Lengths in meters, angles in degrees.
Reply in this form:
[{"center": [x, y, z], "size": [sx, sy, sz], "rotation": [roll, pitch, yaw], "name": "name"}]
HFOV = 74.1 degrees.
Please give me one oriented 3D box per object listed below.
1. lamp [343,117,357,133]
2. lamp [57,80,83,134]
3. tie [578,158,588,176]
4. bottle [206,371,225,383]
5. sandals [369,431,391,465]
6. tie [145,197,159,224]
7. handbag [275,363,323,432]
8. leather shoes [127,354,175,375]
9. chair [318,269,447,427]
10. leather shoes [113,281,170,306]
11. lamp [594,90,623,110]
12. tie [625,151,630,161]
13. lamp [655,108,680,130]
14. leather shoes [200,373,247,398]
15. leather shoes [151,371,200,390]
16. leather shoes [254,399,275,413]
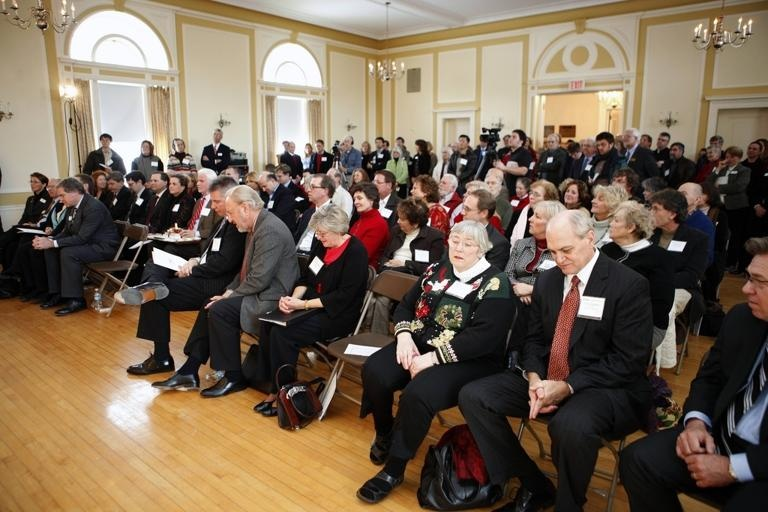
[{"center": [-0.926, -3.713, 14.287], "size": [0.306, 0.348, 0.335], "rotation": [3, -1, -28], "name": "lamp"}, {"center": [-6.024, -2.949, 9.883], "size": [0.327, 0.933, 0.105], "rotation": [-9, 16, -29], "name": "lamp"}, {"center": [3.225, -1.478, 8.389], "size": [0.058, 0.280, 0.168], "rotation": [12, -11, -5], "name": "tie"}, {"center": [-1.609, 1.141, 4.842], "size": [0.135, 0.057, 0.183], "rotation": [5, 8, 11], "name": "bottle"}, {"center": [-0.031, 1.431, 3.771], "size": [0.099, 0.105, 0.284], "rotation": [4, 26, 9], "name": "sandals"}, {"center": [-3.319, -0.672, 7.486], "size": [0.290, 0.402, 0.141], "rotation": [0, -8, 18], "name": "tie"}, {"center": [-0.714, 1.191, 4.218], "size": [0.429, 0.447, 0.260], "rotation": [-14, 4, -42], "name": "handbag"}, {"center": [-2.198, 1.038, 4.882], "size": [0.406, 0.179, 0.185], "rotation": [0, -1, -12], "name": "leather shoes"}, {"center": [-0.121, 0.668, 4.580], "size": [0.860, 1.657, 1.201], "rotation": [8, 8, 39], "name": "chair"}, {"center": [-2.192, 0.328, 4.619], "size": [0.243, 0.209, 0.550], "rotation": [5, 2, 39], "name": "leather shoes"}, {"center": [5.827, -4.105, 13.337], "size": [0.240, 0.423, 0.862], "rotation": [-5, 15, -17], "name": "lamp"}, {"center": [3.997, -1.683, 8.460], "size": [0.095, 0.036, 0.359], "rotation": [-39, 13, 42], "name": "tie"}, {"center": [5.829, -2.835, 10.541], "size": [0.359, 0.363, 0.094], "rotation": [7, 16, 27], "name": "lamp"}, {"center": [-1.422, 1.149, 4.578], "size": [0.330, 0.136, 0.171], "rotation": [1, -2, -37], "name": "leather shoes"}, {"center": [-1.851, 1.106, 4.578], "size": [0.391, 0.160, 0.163], "rotation": [3, -6, -14], "name": "leather shoes"}, {"center": [-1.010, 1.275, 4.313], "size": [0.112, 0.039, 0.158], "rotation": [-1, -3, 27], "name": "leather shoes"}]
